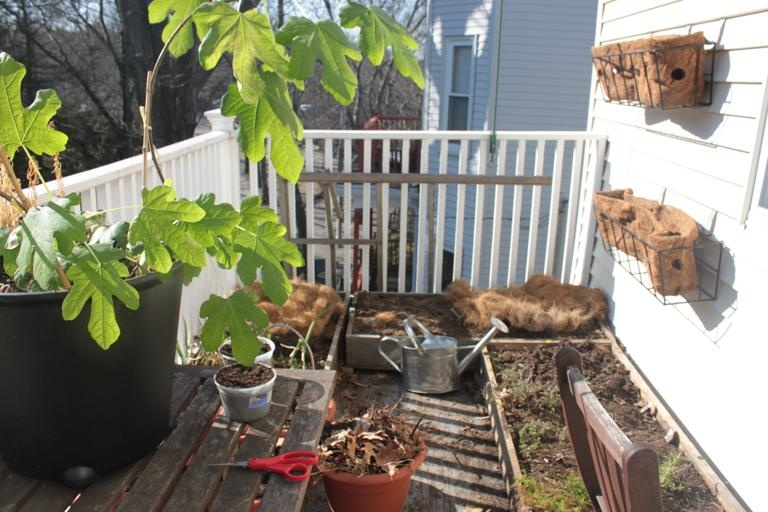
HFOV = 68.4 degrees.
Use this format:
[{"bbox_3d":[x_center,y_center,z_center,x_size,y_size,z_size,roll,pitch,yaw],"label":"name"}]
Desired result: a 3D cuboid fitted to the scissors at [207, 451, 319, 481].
[{"bbox_3d":[-0.358,0.672,1.846,0.243,0.035,0.132,4,14,-1],"label":"scissors"}]
